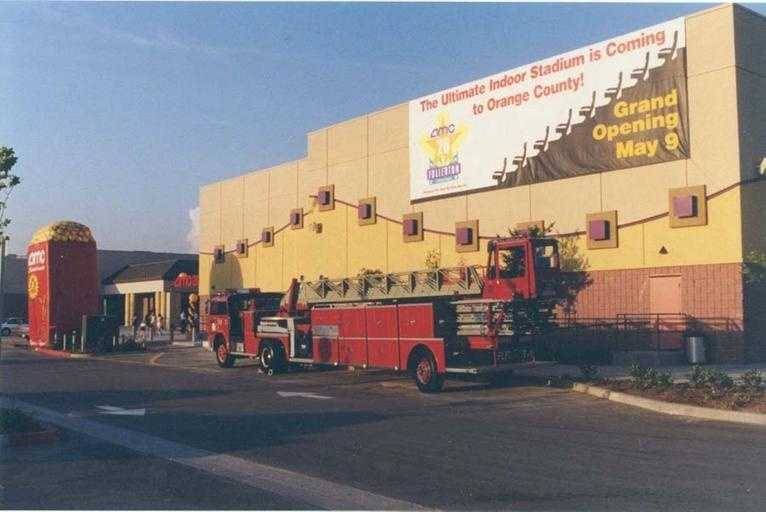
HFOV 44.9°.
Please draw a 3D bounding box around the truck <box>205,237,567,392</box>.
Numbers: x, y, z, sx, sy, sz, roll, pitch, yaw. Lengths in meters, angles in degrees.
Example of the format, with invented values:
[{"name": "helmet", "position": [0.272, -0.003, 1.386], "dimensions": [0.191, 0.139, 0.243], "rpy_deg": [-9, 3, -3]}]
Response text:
[{"name": "truck", "position": [-0.469, 2.511, 39.907], "dimensions": [5.247, 5.848, 18.482], "rpy_deg": [2, -4, -44]}]
